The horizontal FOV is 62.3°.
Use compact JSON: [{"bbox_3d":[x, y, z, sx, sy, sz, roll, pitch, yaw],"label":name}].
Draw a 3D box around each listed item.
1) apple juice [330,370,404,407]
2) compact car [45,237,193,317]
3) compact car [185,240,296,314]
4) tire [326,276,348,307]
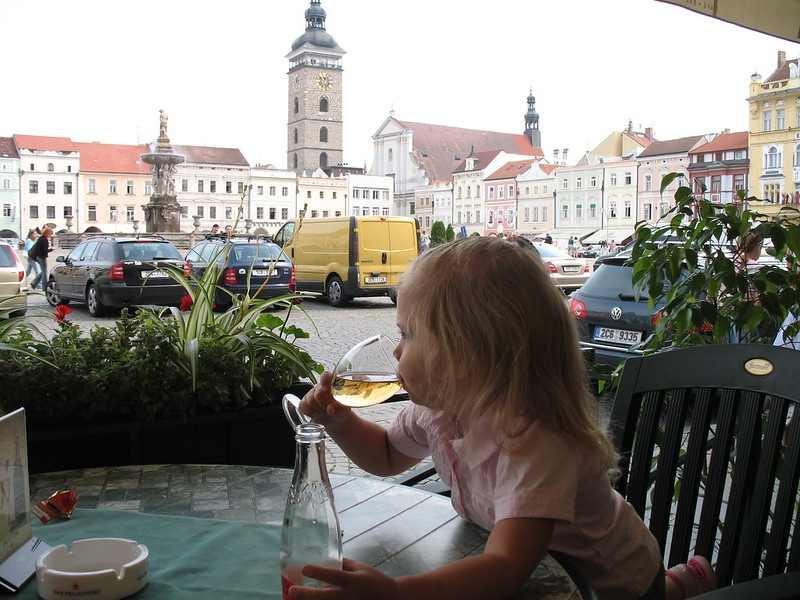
[{"bbox_3d":[-0.085,0.202,1.695,0.164,0.121,0.111,0,3,-42],"label":"apple juice"},{"bbox_3d":[-7.062,-0.675,16.281,2.231,1.837,4.905,-2,6,-44],"label":"compact car"},{"bbox_3d":[-4.397,-0.745,17.118,2.148,1.662,4.710,-4,7,-31],"label":"compact car"},{"bbox_3d":[-1.641,-0.262,17.174,0.204,0.582,0.571,2,33,-35],"label":"tire"}]
